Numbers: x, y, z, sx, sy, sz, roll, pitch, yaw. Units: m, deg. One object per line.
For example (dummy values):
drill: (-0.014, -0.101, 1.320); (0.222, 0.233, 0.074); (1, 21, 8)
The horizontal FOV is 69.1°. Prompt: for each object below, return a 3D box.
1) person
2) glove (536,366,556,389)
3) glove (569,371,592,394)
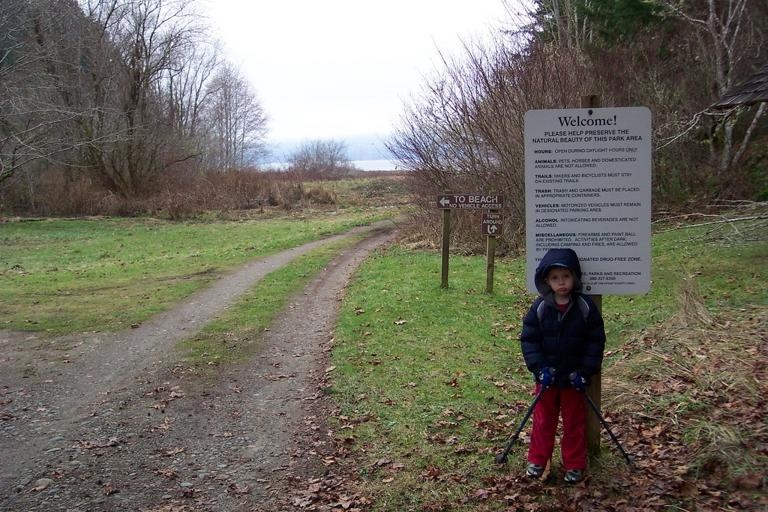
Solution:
person: (2.897, 1.773, 9.061); (1.271, 3.732, 0.515); (-2, 8, 11)
glove: (2.605, 1.919, 8.999); (0.247, 0.323, 0.317); (23, -32, 4)
glove: (3.144, 1.978, 8.883); (0.282, 0.133, 0.349); (-17, 39, -37)
